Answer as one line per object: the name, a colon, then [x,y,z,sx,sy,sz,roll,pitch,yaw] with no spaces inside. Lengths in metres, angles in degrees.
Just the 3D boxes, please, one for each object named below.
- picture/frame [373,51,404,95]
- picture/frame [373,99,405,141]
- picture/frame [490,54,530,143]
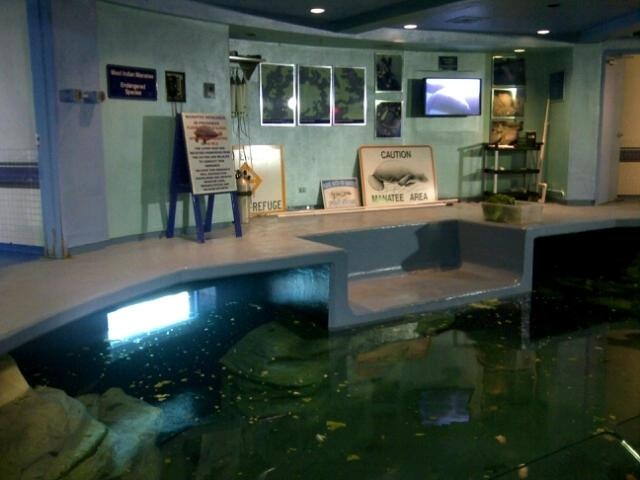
picture/frame: [1.188,-3.011,8.367,0.702,0.748,0.101,-5,14,-19]
picture/frame: [1.207,-2.199,8.518,0.745,0.867,0.114,-1,10,-18]
picture/frame: [3.576,-2.660,8.921,0.705,1.588,0.236,-2,14,-6]
